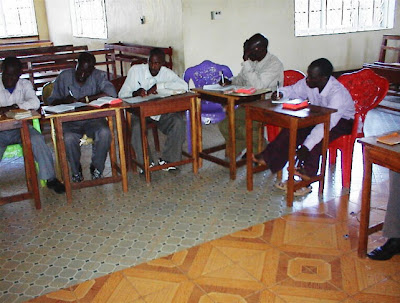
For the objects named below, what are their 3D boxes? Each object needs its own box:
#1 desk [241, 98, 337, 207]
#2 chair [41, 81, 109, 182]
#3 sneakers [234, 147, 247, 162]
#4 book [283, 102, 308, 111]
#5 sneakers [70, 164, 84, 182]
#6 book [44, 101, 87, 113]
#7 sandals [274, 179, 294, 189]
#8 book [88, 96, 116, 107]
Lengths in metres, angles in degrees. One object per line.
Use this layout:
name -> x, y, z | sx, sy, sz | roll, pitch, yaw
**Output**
desk -> 0.915, 0.019, 3.455 | 0.752, 0.956, 0.932 | -21, 30, -34
chair -> -1.367, -0.299, 3.823 | 0.629, 1.026, 0.704 | -8, 28, -20
sneakers -> 0.537, 0.031, 4.197 | 0.167, 0.063, 0.148 | -20, 4, 18
book -> 0.926, -0.438, 3.265 | 0.142, 0.029, 0.144 | -14, 20, -38
sneakers -> -1.400, 0.246, 3.811 | 0.120, 0.246, 0.116 | -3, -1, -9
book -> -1.348, -0.440, 3.384 | 0.392, 0.041, 0.312 | -14, 22, -33
sandals -> 0.889, 0.353, 3.640 | 0.129, 0.035, 0.073 | -11, 25, -39
book -> -1.033, -0.519, 3.516 | 0.263, 0.059, 0.307 | -13, 22, -31
